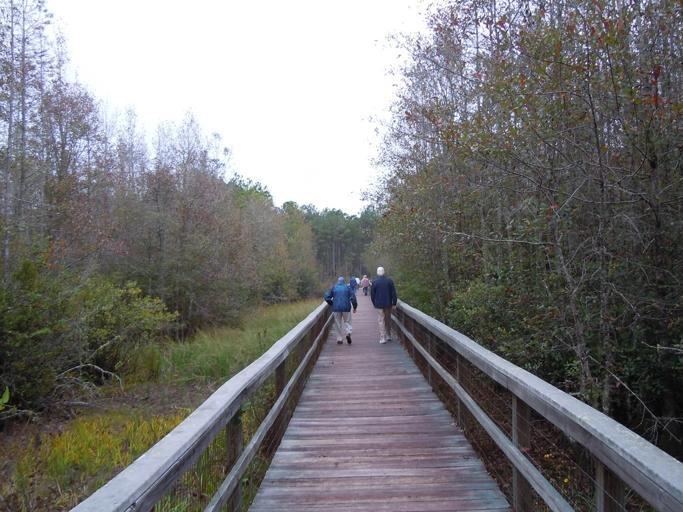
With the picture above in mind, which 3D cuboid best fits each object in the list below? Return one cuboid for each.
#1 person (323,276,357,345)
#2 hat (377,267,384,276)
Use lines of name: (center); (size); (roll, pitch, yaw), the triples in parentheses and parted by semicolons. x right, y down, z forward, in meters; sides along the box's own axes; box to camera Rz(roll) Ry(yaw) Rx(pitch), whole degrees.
person: (-0.019, 1.337, 13.782); (0.665, 1.743, 0.666); (-2, 13, 0)
hat: (0.912, 0.361, 12.983); (0.149, 0.189, 0.236); (-1, -4, 3)
